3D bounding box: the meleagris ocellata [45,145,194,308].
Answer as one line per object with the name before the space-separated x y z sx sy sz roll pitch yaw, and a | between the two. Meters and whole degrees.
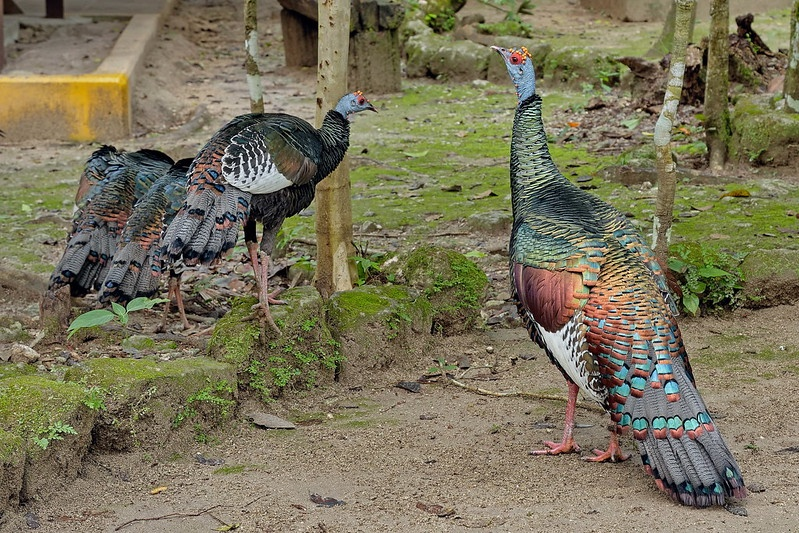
meleagris ocellata | -2.970 -0.635 10.463 1.384 0.939 2.450 15 32 -5
